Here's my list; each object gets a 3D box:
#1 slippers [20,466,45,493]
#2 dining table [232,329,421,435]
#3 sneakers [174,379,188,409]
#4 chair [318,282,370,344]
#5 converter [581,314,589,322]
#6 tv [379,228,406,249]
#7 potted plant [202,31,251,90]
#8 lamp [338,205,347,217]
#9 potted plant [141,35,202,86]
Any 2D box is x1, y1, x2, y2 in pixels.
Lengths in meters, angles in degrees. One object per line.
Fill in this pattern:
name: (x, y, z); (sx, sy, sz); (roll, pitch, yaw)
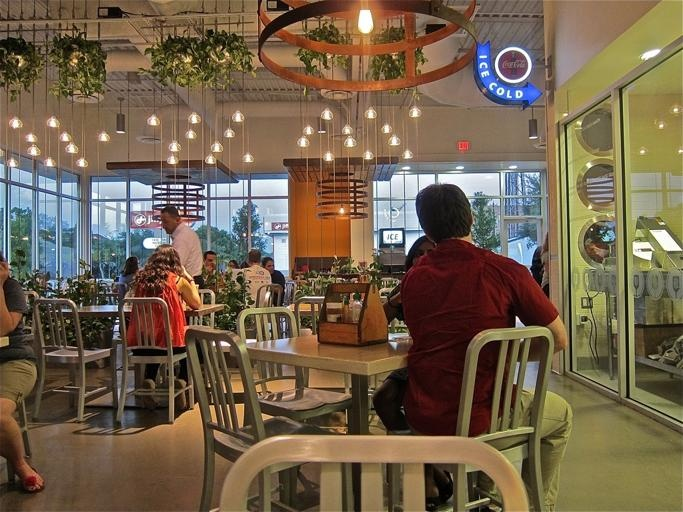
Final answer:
slippers: (-2.287, 1.660, 4.636); (0.164, 0.146, 0.232); (-3, 3, -29)
dining table: (0.009, 0.621, 3.874); (0.682, 0.694, 0.701); (-1, 0, 37)
sneakers: (-1.632, 1.420, 6.364); (0.095, 0.257, 0.259); (-5, -25, -2)
chair: (-0.017, 0.407, 4.187); (0.378, 0.476, 0.365); (-2, -11, 20)
converter: (2.822, 0.732, 7.311); (0.062, 0.089, 0.085); (8, -11, -36)
tv: (1.385, -0.499, 17.227); (0.843, 0.606, 0.473); (0, -8, -1)
potted plant: (-1.183, -2.076, 6.415); (0.507, 0.651, 0.491); (-2, 2, -9)
lamp: (0.005, -0.883, 12.295); (0.133, 0.318, 0.145); (13, 30, 39)
potted plant: (-1.636, -2.110, 6.530); (0.620, 0.322, 0.652); (-1, -30, 6)
